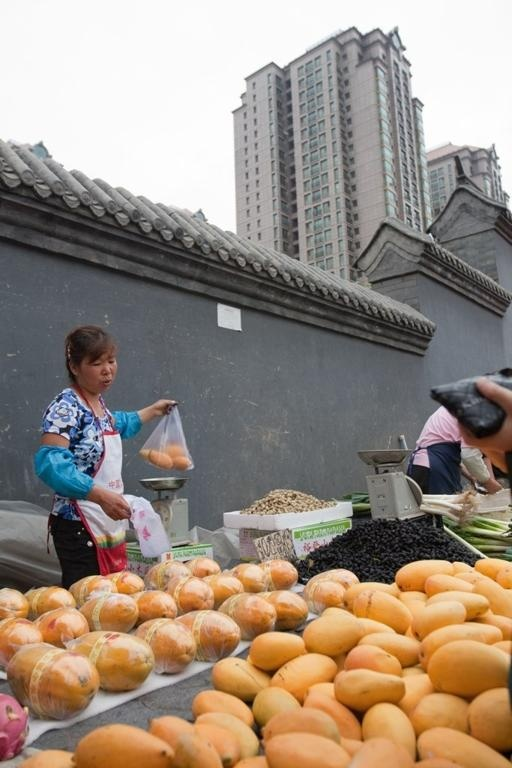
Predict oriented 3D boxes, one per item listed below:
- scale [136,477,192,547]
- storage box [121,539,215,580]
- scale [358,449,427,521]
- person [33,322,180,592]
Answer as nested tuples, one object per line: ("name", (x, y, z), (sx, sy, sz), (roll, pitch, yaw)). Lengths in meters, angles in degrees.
("scale", (-0.493, 0.690, 3.324), (0.262, 0.353, 0.273), (3, -8, -36))
("storage box", (-0.386, 0.721, 2.501), (0.231, 0.159, 0.338), (-8, -11, 34))
("scale", (0.699, 0.506, 3.160), (0.303, 0.317, 0.886), (0, -5, 9))
("person", (-0.683, 0.284, 2.452), (0.342, 1.043, 1.040), (1, -5, -12))
